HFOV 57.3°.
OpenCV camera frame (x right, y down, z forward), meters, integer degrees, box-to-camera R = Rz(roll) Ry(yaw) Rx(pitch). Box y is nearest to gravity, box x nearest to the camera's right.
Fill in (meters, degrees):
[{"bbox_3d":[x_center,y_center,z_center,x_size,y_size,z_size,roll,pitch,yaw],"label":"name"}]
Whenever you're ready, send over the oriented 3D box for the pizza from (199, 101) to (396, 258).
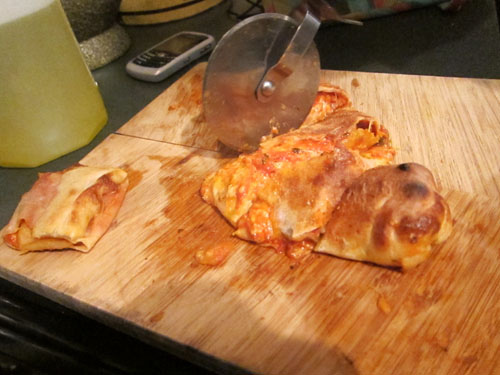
[{"bbox_3d":[0.155,-0.078,1.398,0.417,0.219,0.608,34,72,27],"label":"pizza"}]
